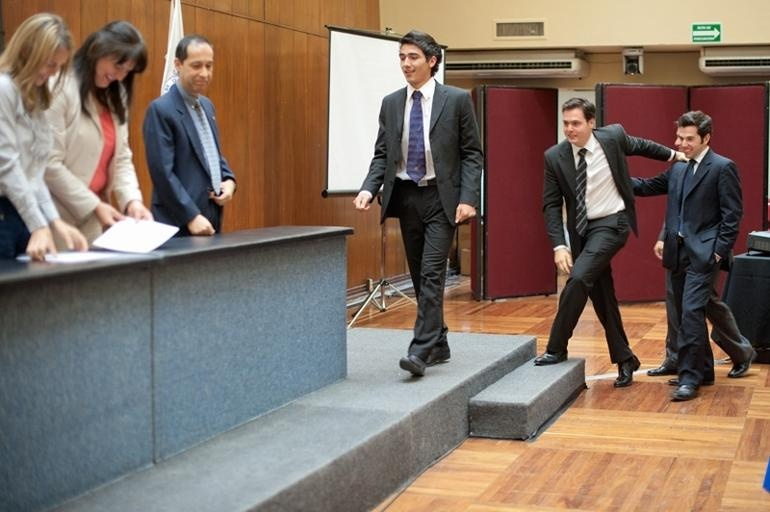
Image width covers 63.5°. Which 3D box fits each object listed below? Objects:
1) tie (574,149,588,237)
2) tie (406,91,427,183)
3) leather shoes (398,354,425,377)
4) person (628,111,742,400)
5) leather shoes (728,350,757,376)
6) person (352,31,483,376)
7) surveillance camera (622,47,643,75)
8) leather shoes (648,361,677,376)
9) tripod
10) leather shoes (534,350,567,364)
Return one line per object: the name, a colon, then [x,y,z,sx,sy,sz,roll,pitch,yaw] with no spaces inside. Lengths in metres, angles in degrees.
tie: [1.314,-0.429,4.165,0.072,0.573,0.061,1,6,12]
tie: [0.182,-0.694,3.616,0.109,0.519,0.078,0,6,0]
leather shoes: [0.158,0.611,3.506,0.134,0.123,0.198,1,7,4]
person: [2.120,-0.023,4.307,0.551,1.900,0.578,-1,6,-6]
leather shoes: [2.685,0.805,4.698,0.094,0.214,0.077,38,-10,-8]
person: [0.197,-0.326,3.607,0.697,1.885,0.455,1,6,8]
surveillance camera: [3.384,-2.637,8.505,0.267,0.316,0.346,2,7,20]
leather shoes: [2.077,0.840,4.690,0.262,0.119,0.089,1,1,4]
tripod: [-0.069,0.250,7.147,0.937,1.398,0.970,1,7,1]
leather shoes: [1.131,0.676,4.263,0.240,0.098,0.087,1,-3,-37]
